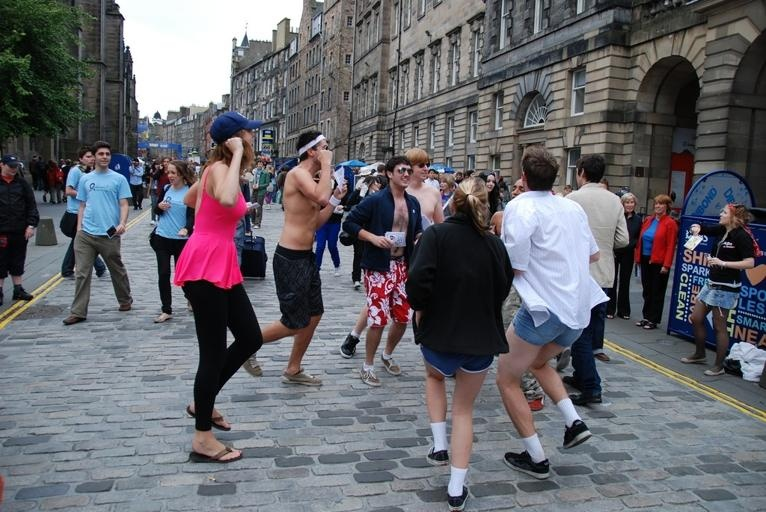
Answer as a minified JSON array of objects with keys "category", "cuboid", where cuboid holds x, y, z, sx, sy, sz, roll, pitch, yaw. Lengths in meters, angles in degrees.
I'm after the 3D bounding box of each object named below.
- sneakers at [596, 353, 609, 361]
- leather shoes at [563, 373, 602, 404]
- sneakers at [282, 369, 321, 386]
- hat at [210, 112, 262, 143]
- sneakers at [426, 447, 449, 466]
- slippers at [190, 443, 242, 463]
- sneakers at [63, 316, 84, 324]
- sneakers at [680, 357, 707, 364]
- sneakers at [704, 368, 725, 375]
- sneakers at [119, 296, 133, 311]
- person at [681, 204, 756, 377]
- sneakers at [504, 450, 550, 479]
[{"category":"sneakers","cuboid":[3.014,1.382,7.644,0.221,0.088,0.083,6,6,44]},{"category":"leather shoes","cuboid":[2.209,1.508,6.426,0.190,0.229,0.532,-6,13,-22]},{"category":"sneakers","cuboid":[-0.919,1.400,6.431,0.477,0.200,0.172,2,4,-10]},{"category":"hat","cuboid":[-1.327,-1.208,5.028,0.498,0.241,0.311,-26,16,-6]},{"category":"sneakers","cuboid":[0.483,1.746,4.825,0.107,0.107,0.235,-1,5,-9]},{"category":"slippers","cuboid":[-1.433,1.720,4.817,0.308,0.073,0.177,-3,3,0]},{"category":"sneakers","cuboid":[-4.523,0.927,8.220,0.107,0.136,0.322,0,-3,28]},{"category":"sneakers","cuboid":[4.233,1.417,7.641,0.325,0.136,0.120,3,2,7]},{"category":"sneakers","cuboid":[4.294,1.499,7.255,0.251,0.068,0.096,2,-2,-22]},{"category":"sneakers","cuboid":[-4.113,0.784,8.922,0.115,0.120,0.307,0,2,-13]},{"category":"person","cuboid":[4.480,0.417,7.382,0.581,2.189,0.956,12,15,36]},{"category":"sneakers","cuboid":[1.249,1.814,4.927,0.403,0.165,0.169,16,5,39]}]
